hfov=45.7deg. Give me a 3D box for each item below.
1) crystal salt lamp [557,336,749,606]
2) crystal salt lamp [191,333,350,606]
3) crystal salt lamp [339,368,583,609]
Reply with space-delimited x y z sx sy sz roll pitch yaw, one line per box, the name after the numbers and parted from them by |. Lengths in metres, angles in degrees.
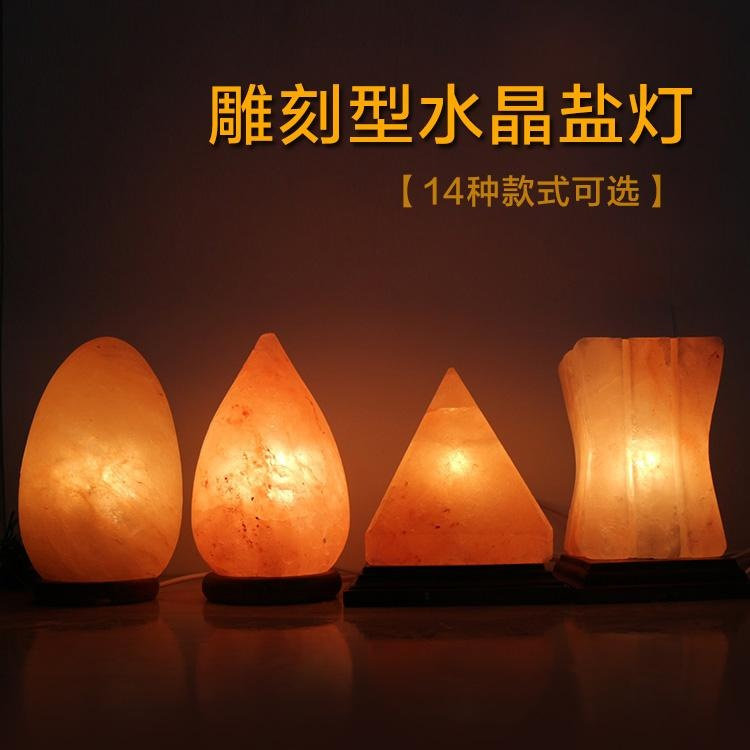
0.413 0.144 1.526 0.300 0.521 0.328 -1 -1 7 | crystal salt lamp
-0.155 0.142 1.320 0.200 0.399 0.170 2 4 34 | crystal salt lamp
0.127 0.150 1.241 0.245 0.328 0.266 0 -3 0 | crystal salt lamp
